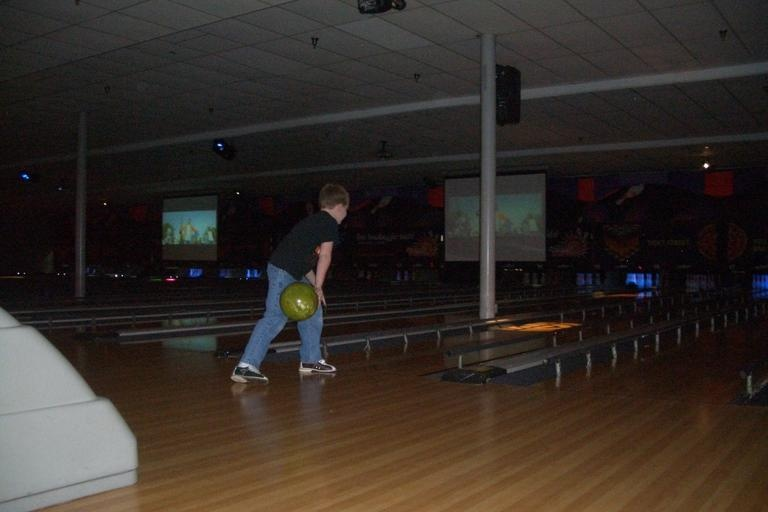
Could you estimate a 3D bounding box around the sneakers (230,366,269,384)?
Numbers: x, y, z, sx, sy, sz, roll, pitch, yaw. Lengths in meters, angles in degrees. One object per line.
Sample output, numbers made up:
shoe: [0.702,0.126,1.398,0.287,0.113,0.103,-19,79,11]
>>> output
sneakers: [-0.863,0.756,3.314,0.264,0.095,0.103,3,-4,-4]

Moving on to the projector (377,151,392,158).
projector: [-0.008,-2.338,11.860,0.216,0.089,0.202,2,0,7]

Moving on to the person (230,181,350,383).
person: [-0.640,0.162,3.525,0.848,1.009,0.444,-3,-1,-12]

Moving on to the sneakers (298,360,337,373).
sneakers: [-0.475,0.784,3.666,0.268,0.104,0.097,1,-2,0]
